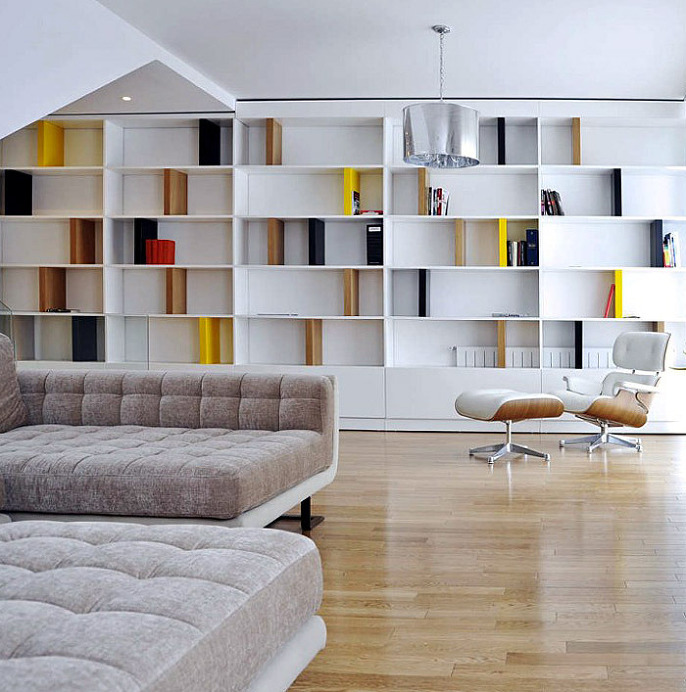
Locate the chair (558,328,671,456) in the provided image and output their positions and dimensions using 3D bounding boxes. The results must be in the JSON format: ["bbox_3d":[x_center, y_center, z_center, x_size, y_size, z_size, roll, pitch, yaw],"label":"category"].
[{"bbox_3d":[1.779,0.288,5.726,0.738,0.749,0.750,1,2,19],"label":"chair"}]

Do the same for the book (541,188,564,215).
[{"bbox_3d":[1.585,-1.083,6.525,0.178,0.203,0.086,2,5,9],"label":"book"}]

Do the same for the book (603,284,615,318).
[{"bbox_3d":[2.049,-0.344,6.598,0.085,0.259,0.229,3,5,16],"label":"book"}]

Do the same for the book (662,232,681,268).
[{"bbox_3d":[2.462,-0.708,6.442,0.130,0.261,0.115,3,5,20],"label":"book"}]

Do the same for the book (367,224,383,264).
[{"bbox_3d":[0.240,-0.766,6.563,0.122,0.312,0.041,3,5,15],"label":"book"}]

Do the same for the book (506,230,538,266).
[{"bbox_3d":[1.374,-0.707,6.570,0.254,0.317,0.343,1,3,11],"label":"book"}]

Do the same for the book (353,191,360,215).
[{"bbox_3d":[0.095,-1.106,6.659,0.037,0.147,0.154,1,6,12],"label":"book"}]

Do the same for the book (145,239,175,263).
[{"bbox_3d":[-1.466,-0.736,6.806,0.198,0.186,0.208,1,2,22],"label":"book"}]

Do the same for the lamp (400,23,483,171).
[{"bbox_3d":[0.583,-1.526,5.109,0.461,0.740,0.445,0,5,-1],"label":"lamp"}]

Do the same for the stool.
[{"bbox_3d":[1.074,0.502,5.445,0.618,0.429,0.513,0,5,-18],"label":"stool"}]

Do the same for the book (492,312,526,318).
[{"bbox_3d":[1.277,-0.228,6.605,0.264,0.034,0.359,2,5,9],"label":"book"}]

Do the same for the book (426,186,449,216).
[{"bbox_3d":[0.718,-1.102,6.710,0.200,0.249,0.271,0,4,11],"label":"book"}]
